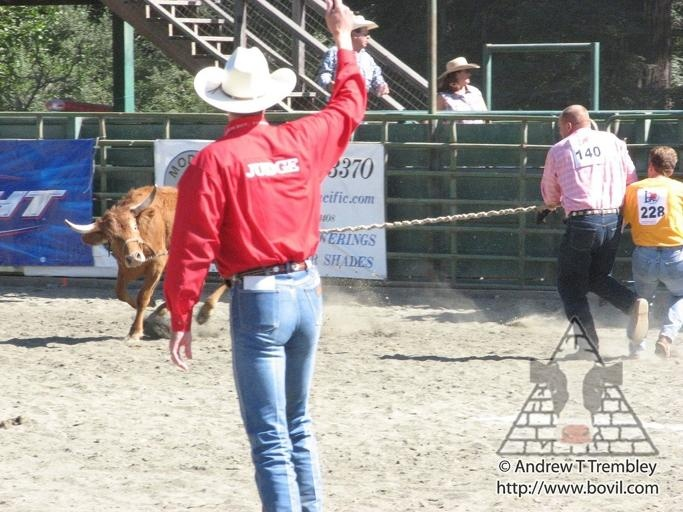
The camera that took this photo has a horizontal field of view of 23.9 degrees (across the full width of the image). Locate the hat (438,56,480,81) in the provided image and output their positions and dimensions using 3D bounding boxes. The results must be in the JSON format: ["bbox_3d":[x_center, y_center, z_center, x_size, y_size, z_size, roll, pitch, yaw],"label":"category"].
[{"bbox_3d":[1.481,-2.552,21.854,0.617,0.206,0.426,-14,3,38],"label":"hat"}]

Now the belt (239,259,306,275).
[{"bbox_3d":[-0.659,0.120,15.445,0.644,0.150,0.131,1,4,-2],"label":"belt"}]
